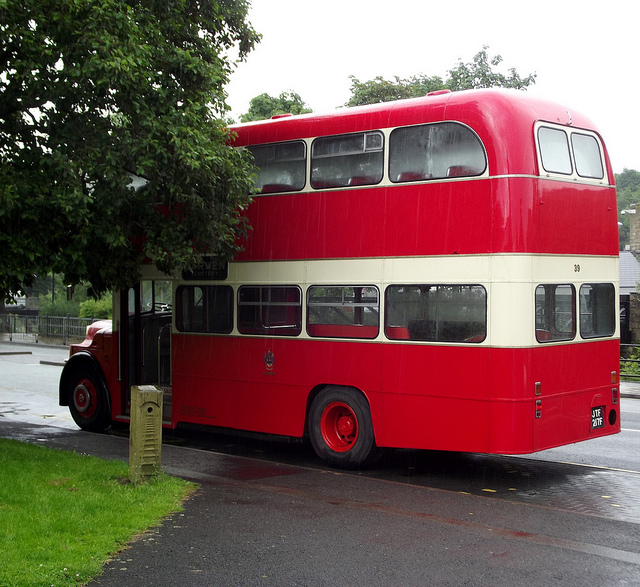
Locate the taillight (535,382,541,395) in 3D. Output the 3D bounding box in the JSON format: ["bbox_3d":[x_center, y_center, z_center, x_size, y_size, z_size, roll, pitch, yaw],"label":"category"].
[{"bbox_3d":[2.622,1.146,7.409,0.122,0.219,0.017,1,0,-42],"label":"taillight"}]

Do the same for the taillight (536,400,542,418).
[{"bbox_3d":[2.633,1.385,7.403,0.111,0.211,0.012,4,-4,-41],"label":"taillight"}]

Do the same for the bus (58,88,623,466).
[{"bbox_3d":[-0.585,0.171,10.357,7.637,5.308,3.152,-1,-10,24],"label":"bus"}]

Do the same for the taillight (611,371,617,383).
[{"bbox_3d":[4.136,1.181,8.668,0.120,0.219,0.022,2,-1,-39],"label":"taillight"}]
